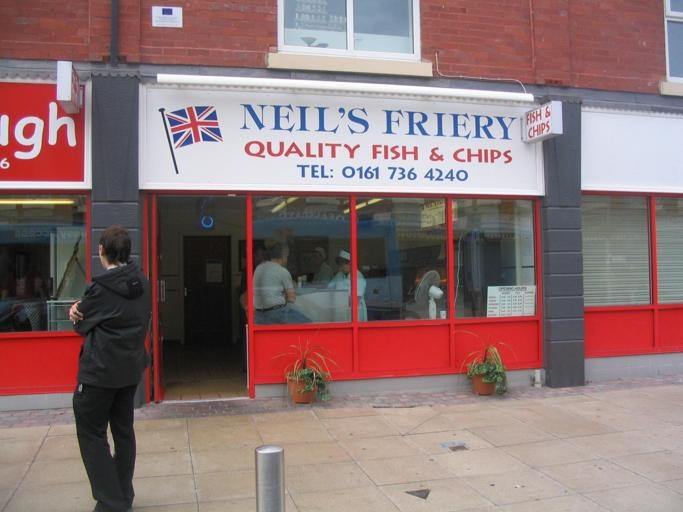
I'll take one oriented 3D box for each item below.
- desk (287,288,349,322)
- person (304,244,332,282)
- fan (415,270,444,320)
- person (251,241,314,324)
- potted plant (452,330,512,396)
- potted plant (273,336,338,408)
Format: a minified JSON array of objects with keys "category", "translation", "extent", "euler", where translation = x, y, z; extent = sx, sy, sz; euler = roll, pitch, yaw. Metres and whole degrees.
[{"category":"desk","translation":[-0.253,0.734,9.994],"extent":[0.801,0.565,0.444],"euler":[0,5,-38]},{"category":"person","translation":[-0.380,0.146,10.177],"extent":[0.397,0.735,0.727],"euler":[4,-1,-5]},{"category":"fan","translation":[1.298,0.572,10.081],"extent":[0.455,0.673,0.205],"euler":[-4,9,-25]},{"category":"person","translation":[-0.863,0.533,9.930],"extent":[0.740,1.485,0.863],"euler":[4,5,19]},{"category":"potted plant","translation":[2.127,1.564,9.980],"extent":[0.784,0.893,0.651],"euler":[1,8,2]},{"category":"potted plant","translation":[-0.499,1.611,9.431],"extent":[0.782,0.786,0.513],"euler":[0,8,-4]}]
